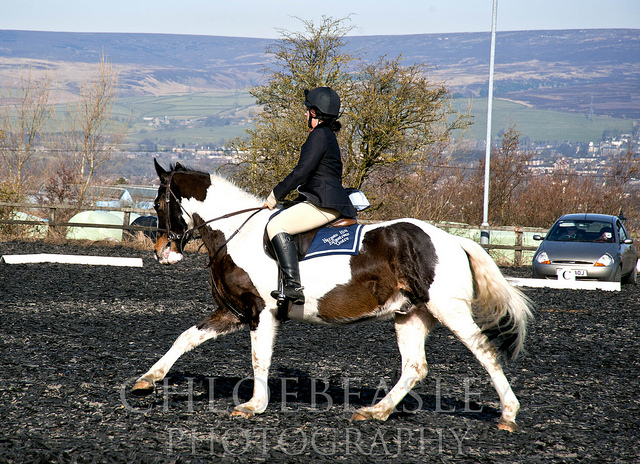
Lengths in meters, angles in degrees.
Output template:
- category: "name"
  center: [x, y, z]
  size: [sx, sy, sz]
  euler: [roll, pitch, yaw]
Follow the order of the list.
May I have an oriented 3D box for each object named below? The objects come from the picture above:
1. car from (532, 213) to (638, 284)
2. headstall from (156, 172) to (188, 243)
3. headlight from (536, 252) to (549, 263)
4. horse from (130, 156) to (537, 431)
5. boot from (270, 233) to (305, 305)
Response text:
- category: "car"
  center: [7.181, 0.439, 24.212]
  size: [1.741, 1.097, 2.705]
  euler: [0, -6, 24]
- category: "headstall"
  center: [-2.459, -0.387, 15.189]
  size: [0.465, 1.007, 0.418]
  euler: [-1, 16, 20]
- category: "headlight"
  center: [5.738, 0.670, 23.425]
  size: [0.135, 0.217, 0.364]
  euler: [3, 4, -38]
- category: "horse"
  center: [0.219, 1.038, 14.600]
  size: [6.051, 2.675, 1.092]
  euler: [6, 4, 5]
- category: "boot"
  center: [-0.499, 0.592, 14.340]
  size: [0.562, 1.116, 0.263]
  euler: [8, 4, 26]
